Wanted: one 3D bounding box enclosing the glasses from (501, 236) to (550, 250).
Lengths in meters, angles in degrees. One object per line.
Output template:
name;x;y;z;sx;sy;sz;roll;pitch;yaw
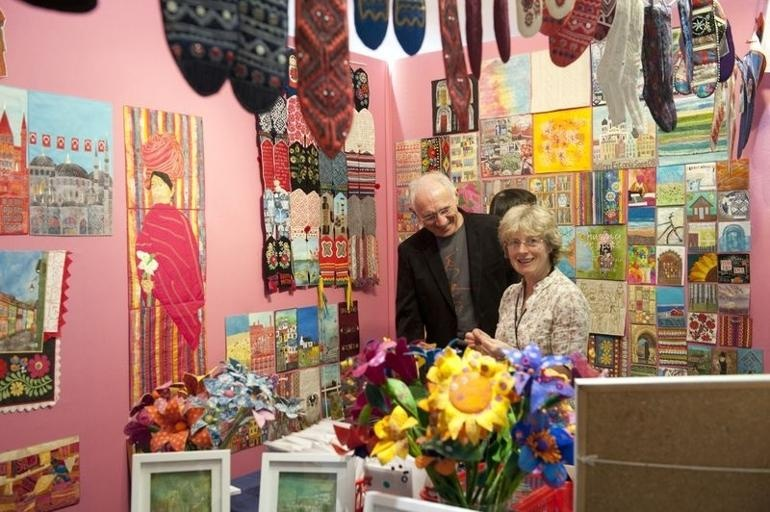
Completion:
glasses;0.615;-0.058;2.745;0.175;0.048;0.066;-4;-3;19

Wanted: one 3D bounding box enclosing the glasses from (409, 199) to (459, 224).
glasses;0.289;-0.261;3.584;0.136;0.067;0.180;-15;-11;-1

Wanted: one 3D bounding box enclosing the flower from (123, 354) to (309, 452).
flower;-0.650;0.465;2.362;0.487;0.293;0.392;-7;-8;-35

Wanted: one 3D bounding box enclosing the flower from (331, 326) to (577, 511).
flower;0.198;0.515;1.892;0.727;0.537;0.329;-3;-3;18
